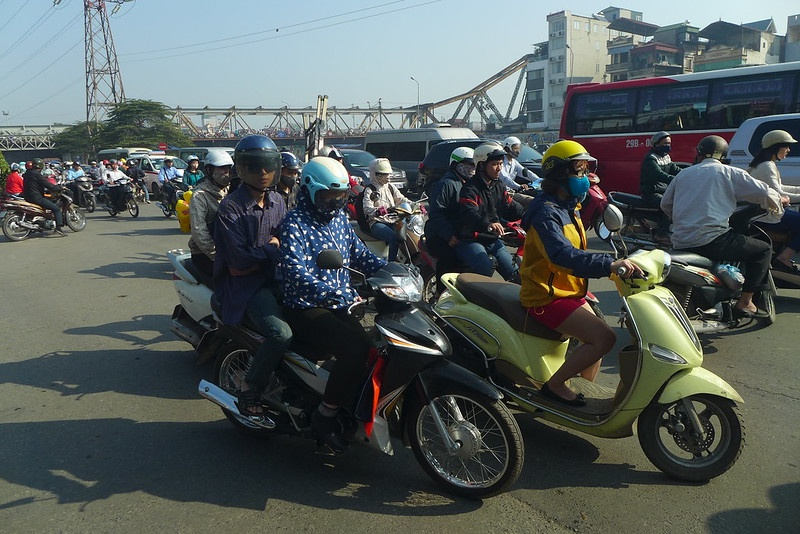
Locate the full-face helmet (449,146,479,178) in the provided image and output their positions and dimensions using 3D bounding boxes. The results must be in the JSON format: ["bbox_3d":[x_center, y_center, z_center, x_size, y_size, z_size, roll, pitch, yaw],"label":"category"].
[{"bbox_3d":[0.787,-1.214,7.435,0.400,0.384,0.305,10,11,28],"label":"full-face helmet"}]

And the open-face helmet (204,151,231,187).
[{"bbox_3d":[-1.997,-1.097,7.111,0.382,0.400,0.303,3,9,27],"label":"open-face helmet"}]

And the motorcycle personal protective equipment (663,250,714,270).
[{"bbox_3d":[3.123,-0.052,6.946,0.456,0.114,0.254,11,18,-16],"label":"motorcycle personal protective equipment"}]

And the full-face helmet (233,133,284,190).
[{"bbox_3d":[-1.169,-0.874,5.305,0.398,0.453,0.460,-8,13,-32],"label":"full-face helmet"}]

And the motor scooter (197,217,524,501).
[{"bbox_3d":[-0.488,0.773,5.251,2.924,1.703,1.007,5,3,27],"label":"motor scooter"}]

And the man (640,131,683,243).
[{"bbox_3d":[4.157,-1.284,10.119,0.698,1.643,0.619,6,17,44],"label":"man"}]

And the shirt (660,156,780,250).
[{"bbox_3d":[3.351,-0.728,7.050,1.289,0.798,0.757,-2,28,21],"label":"shirt"}]

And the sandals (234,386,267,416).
[{"bbox_3d":[-1.222,1.105,5.276,0.165,0.168,0.282,0,4,-35],"label":"sandals"}]

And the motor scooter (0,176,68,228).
[{"bbox_3d":[-8.622,-1.758,15.249,1.553,0.968,0.816,-2,14,-12],"label":"motor scooter"}]

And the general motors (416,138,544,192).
[{"bbox_3d":[2.223,-2.973,17.897,3.613,1.461,1.819,1,7,20],"label":"general motors"}]

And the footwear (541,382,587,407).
[{"bbox_3d":[1.310,1.041,5.245,0.403,0.139,0.141,11,9,4],"label":"footwear"}]

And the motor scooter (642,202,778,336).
[{"bbox_3d":[3.460,0.053,7.094,2.088,1.326,0.941,-8,4,-18],"label":"motor scooter"}]

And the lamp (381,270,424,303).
[{"bbox_3d":[0.036,0.167,4.914,0.251,0.076,0.245,39,43,26],"label":"lamp"}]

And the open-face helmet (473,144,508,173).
[{"bbox_3d":[0.980,-1.203,7.020,0.356,0.275,0.258,4,12,37],"label":"open-face helmet"}]

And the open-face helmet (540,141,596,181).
[{"bbox_3d":[1.399,-0.892,5.345,0.398,0.308,0.301,1,9,13],"label":"open-face helmet"}]

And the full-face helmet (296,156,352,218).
[{"bbox_3d":[-0.599,-0.647,5.029,0.447,0.433,0.362,22,24,37],"label":"full-face helmet"}]

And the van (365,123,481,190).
[{"bbox_3d":[1.227,-3.914,23.892,4.954,2.469,2.508,9,14,40],"label":"van"}]

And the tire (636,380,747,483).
[{"bbox_3d":[2.292,1.310,5.030,0.720,0.726,0.633,-11,4,23],"label":"tire"}]

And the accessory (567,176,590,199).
[{"bbox_3d":[1.493,-0.651,5.274,0.128,0.202,0.217,10,19,35],"label":"accessory"}]

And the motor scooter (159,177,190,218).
[{"bbox_3d":[-6.585,-2.047,18.811,1.707,1.173,0.746,3,9,41],"label":"motor scooter"}]

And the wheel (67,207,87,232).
[{"bbox_3d":[-8.429,-1.229,16.418,0.340,0.600,0.643,1,-7,17],"label":"wheel"}]

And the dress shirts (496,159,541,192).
[{"bbox_3d":[2.125,-1.557,11.089,0.918,0.417,0.674,14,-3,-38],"label":"dress shirts"}]

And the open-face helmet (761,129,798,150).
[{"bbox_3d":[4.536,-1.533,7.608,0.442,0.204,0.306,-7,10,15],"label":"open-face helmet"}]

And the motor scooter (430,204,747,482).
[{"bbox_3d":[1.536,0.499,6.030,3.191,1.987,1.518,10,20,31],"label":"motor scooter"}]
